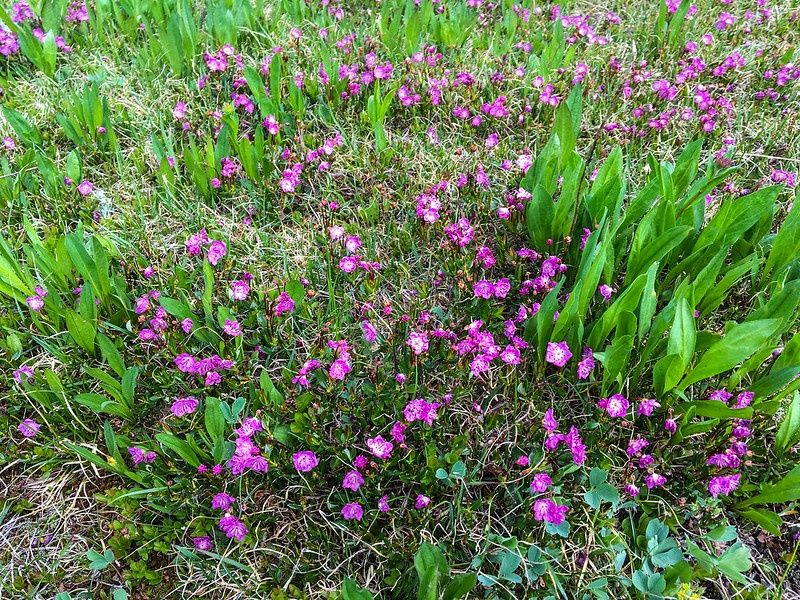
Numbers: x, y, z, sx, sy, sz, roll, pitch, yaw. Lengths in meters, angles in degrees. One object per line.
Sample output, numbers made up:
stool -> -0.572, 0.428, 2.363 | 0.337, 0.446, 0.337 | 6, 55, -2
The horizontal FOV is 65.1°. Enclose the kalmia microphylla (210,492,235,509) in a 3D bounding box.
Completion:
kalmia microphylla -> -0.749, 0.863, 2.664 | 0.086, 0.061, 0.053 | -2, 48, -1

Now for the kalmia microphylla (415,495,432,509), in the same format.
kalmia microphylla -> 0.087, 0.847, 2.597 | 0.050, 0.061, 0.018 | 17, 28, -6

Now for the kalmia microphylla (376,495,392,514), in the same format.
kalmia microphylla -> -0.063, 0.864, 2.626 | 0.024, 0.057, 0.078 | 5, 58, -20

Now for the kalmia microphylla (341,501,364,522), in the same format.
kalmia microphylla -> -0.200, 0.899, 2.649 | 0.088, 0.089, 0.055 | 1, 47, 3

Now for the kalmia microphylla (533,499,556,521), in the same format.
kalmia microphylla -> 0.585, 0.859, 2.573 | 0.081, 0.080, 0.080 | 15, 51, 14
